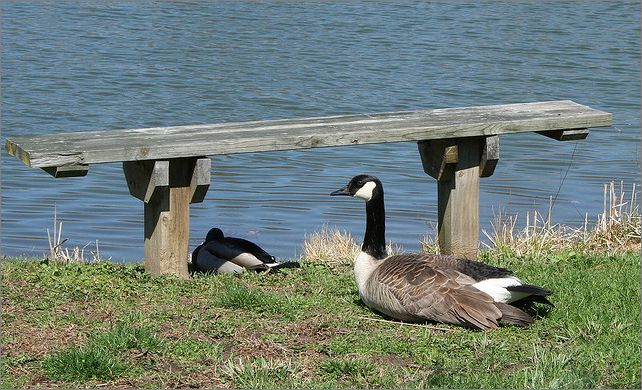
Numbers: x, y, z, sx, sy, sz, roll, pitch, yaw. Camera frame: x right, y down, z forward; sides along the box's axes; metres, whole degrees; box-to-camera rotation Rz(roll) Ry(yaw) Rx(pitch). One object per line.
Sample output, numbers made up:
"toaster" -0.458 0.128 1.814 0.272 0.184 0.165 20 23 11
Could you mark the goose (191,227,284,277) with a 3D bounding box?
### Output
"goose" -1.990 1.270 24.028 2.821 1.095 1.012 1 1 43
